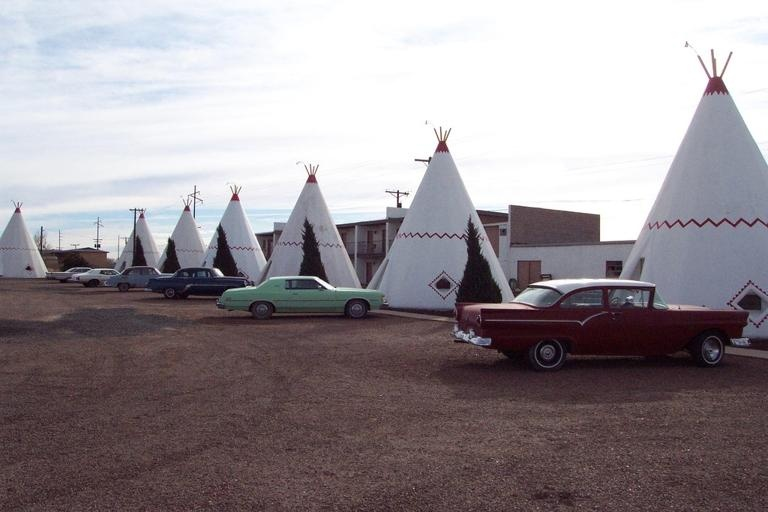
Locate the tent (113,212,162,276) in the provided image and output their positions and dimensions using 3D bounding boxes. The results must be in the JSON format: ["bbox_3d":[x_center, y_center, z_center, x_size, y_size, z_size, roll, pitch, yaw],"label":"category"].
[{"bbox_3d":[-17.605,-1.826,48.157,2.504,3.209,2.829,1,2,-10],"label":"tent"}]

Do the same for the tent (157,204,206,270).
[{"bbox_3d":[-10.834,-0.430,35.929,3.650,3.849,3.708,1,-6,-15],"label":"tent"}]

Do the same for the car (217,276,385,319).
[{"bbox_3d":[-2.005,0.845,17.466,3.852,0.988,1.538,0,0,-9],"label":"car"}]

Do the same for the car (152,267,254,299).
[{"bbox_3d":[-6.985,1.292,24.353,3.460,1.054,1.668,-1,1,3],"label":"car"}]

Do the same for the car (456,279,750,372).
[{"bbox_3d":[3.479,1.087,10.989,4.349,1.341,1.807,0,0,-10],"label":"car"}]

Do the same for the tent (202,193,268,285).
[{"bbox_3d":[-7.107,-1.628,31.559,2.660,3.121,2.514,5,22,-2],"label":"tent"}]
